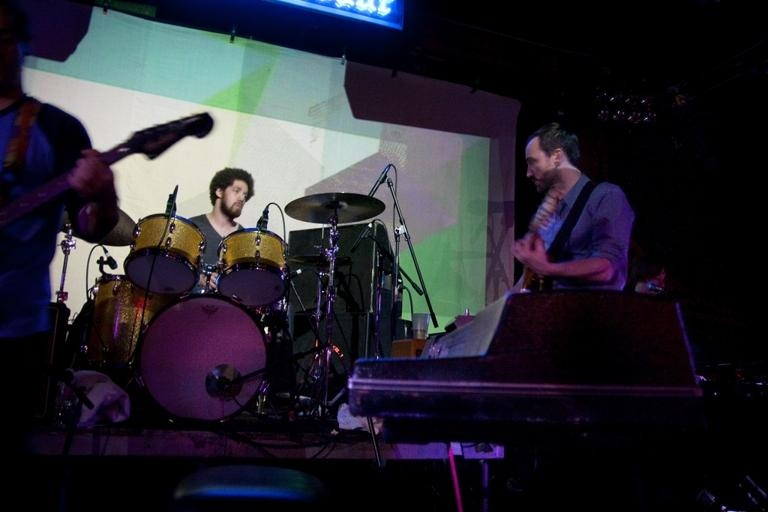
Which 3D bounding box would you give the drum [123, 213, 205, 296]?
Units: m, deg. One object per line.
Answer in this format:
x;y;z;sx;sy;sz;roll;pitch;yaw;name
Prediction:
-1.640;-0.028;4.723;0.609;0.450;0.610;-5;-42;-4;drum

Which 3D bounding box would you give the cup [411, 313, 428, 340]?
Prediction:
0.325;0.594;5.178;0.174;0.187;0.176;1;-6;0;cup

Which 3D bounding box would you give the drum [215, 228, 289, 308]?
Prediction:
-1.110;0.094;4.992;0.644;0.475;0.651;1;-3;0;drum

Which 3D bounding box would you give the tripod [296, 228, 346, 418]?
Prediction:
-0.480;0.495;5.257;0.308;1.107;1.272;4;-2;-6;tripod

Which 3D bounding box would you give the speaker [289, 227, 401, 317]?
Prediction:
-0.334;0.175;5.668;0.790;0.685;0.275;-2;-23;6;speaker

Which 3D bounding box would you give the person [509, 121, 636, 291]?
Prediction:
0.902;-0.290;3.162;0.596;0.907;0.584;6;-3;-44;person

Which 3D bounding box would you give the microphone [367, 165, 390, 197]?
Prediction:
-0.062;-0.745;6.145;0.077;0.453;0.252;10;-31;19;microphone

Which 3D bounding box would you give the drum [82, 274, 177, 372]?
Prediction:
-2.038;0.542;5.066;0.743;0.691;0.748;4;-11;16;drum

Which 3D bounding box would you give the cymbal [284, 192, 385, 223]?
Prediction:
-0.429;-0.425;5.441;0.848;0.202;0.629;4;-2;-4;cymbal

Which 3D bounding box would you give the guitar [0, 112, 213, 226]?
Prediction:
-1.905;-0.608;4.252;0.859;0.341;0.847;-32;21;-2;guitar
